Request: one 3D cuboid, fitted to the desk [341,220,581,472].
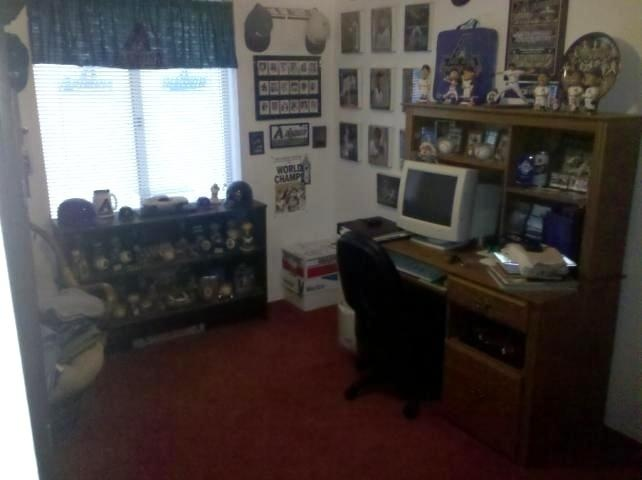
[{"bbox_3d":[0.771,0.518,3.189,0.882,1.091,1.526,-11,16,-33],"label":"desk"}]

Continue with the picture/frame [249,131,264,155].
[{"bbox_3d":[-0.575,-0.853,4.359,0.186,0.265,0.026,-4,13,-24],"label":"picture/frame"}]

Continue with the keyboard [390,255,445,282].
[{"bbox_3d":[0.622,0.186,3.283,0.137,0.030,0.381,-24,24,-25],"label":"keyboard"}]

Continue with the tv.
[{"bbox_3d":[0.896,-0.311,3.413,0.500,0.585,0.699,-13,20,-37],"label":"tv"}]

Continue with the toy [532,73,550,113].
[{"bbox_3d":[1.243,-0.834,2.799,0.077,0.181,0.165,5,18,22],"label":"toy"}]

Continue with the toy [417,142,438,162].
[{"bbox_3d":[0.728,-0.603,3.424,0.099,0.142,0.139,2,-8,10],"label":"toy"}]

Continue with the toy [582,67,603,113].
[{"bbox_3d":[1.427,-0.792,2.618,0.085,0.220,0.183,6,18,26],"label":"toy"}]

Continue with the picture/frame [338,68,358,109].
[{"bbox_3d":[0.244,-1.360,4.442,0.055,0.415,0.340,-5,9,-30],"label":"picture/frame"}]

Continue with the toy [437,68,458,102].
[{"bbox_3d":[0.861,-1.030,3.336,0.088,0.213,0.168,-6,17,-15],"label":"toy"}]

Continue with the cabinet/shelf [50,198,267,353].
[{"bbox_3d":[-1.292,0.263,3.821,1.026,0.695,0.332,-13,18,-34],"label":"cabinet/shelf"}]

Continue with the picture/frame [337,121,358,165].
[{"bbox_3d":[0.245,-0.902,4.575,0.044,0.428,0.325,-9,17,-29],"label":"picture/frame"}]

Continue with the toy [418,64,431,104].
[{"bbox_3d":[0.753,-1.130,3.574,0.094,0.260,0.404,1,17,11],"label":"toy"}]

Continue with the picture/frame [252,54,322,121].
[{"bbox_3d":[-0.326,-1.352,4.360,0.566,0.496,0.068,-5,17,-21],"label":"picture/frame"}]

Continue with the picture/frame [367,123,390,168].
[{"bbox_3d":[0.498,-0.826,4.283,0.055,0.404,0.335,-6,12,-29],"label":"picture/frame"}]

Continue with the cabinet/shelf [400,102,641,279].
[{"bbox_3d":[1.197,-0.272,2.910,0.293,0.842,0.943,-9,19,-25],"label":"cabinet/shelf"}]

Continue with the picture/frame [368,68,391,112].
[{"bbox_3d":[0.494,-1.255,4.145,0.044,0.322,0.256,-9,18,-25],"label":"picture/frame"}]

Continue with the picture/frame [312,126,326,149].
[{"bbox_3d":[-0.027,-0.970,4.657,0.179,0.245,0.025,-9,15,-35],"label":"picture/frame"}]
